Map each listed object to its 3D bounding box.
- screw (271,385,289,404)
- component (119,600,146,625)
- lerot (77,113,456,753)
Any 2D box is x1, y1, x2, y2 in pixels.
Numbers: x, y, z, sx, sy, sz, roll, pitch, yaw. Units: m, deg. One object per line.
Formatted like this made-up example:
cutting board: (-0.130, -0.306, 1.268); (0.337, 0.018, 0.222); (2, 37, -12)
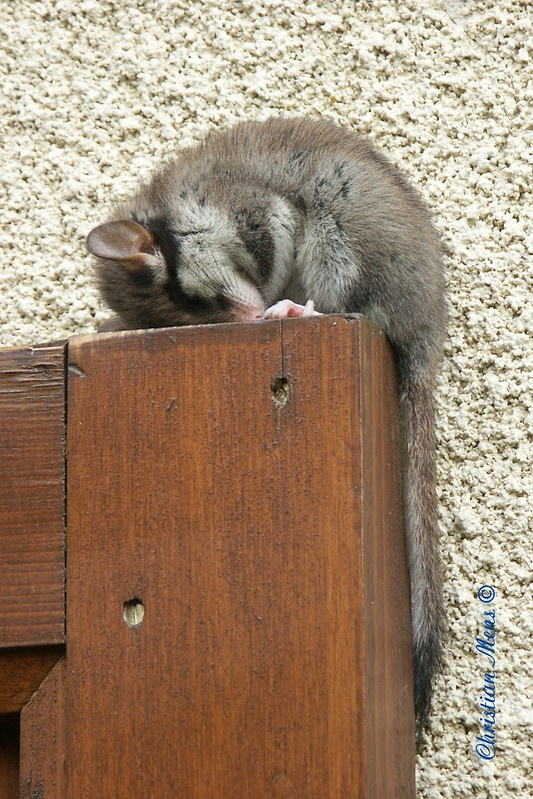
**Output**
screw: (0.028, -0.005, 2.984); (0.029, 0.009, 0.036); (1, 76, -1)
component: (-0.233, 0.375, 3.007); (0.032, 0.017, 0.047); (-1, 80, 2)
lerot: (0.089, -0.002, 3.757); (0.695, 0.609, 1.382); (-6, 89, 29)
